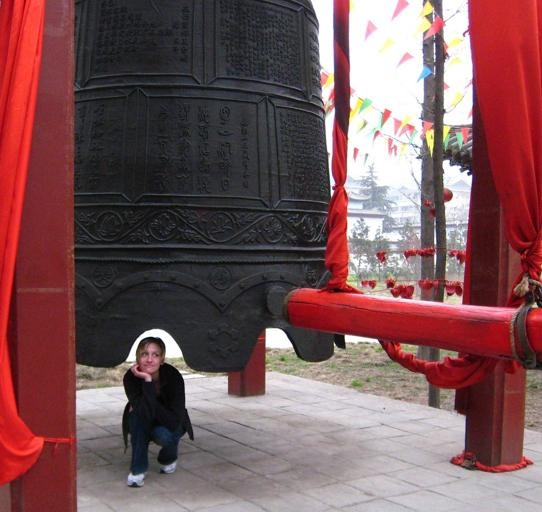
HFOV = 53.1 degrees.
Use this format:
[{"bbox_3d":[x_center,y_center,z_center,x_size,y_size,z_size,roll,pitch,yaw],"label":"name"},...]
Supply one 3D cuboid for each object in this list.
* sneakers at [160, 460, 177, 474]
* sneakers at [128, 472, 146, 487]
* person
[{"bbox_3d":[-0.697,1.452,3.729,0.056,0.057,0.137,4,6,19],"label":"sneakers"},{"bbox_3d":[-0.873,1.428,3.508,0.111,0.092,0.148,1,-3,-13],"label":"sneakers"},{"bbox_3d":[-0.763,1.008,3.637,0.445,0.953,0.393,2,-4,-33],"label":"person"}]
